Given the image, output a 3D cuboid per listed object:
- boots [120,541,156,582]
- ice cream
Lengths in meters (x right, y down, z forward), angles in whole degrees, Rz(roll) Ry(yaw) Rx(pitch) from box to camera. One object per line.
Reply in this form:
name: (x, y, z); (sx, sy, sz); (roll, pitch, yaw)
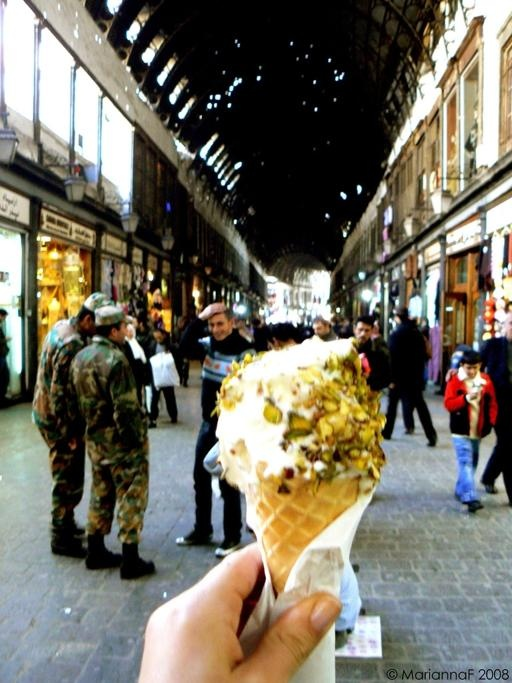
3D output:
boots: (-0.772, 1.417, 3.721); (0.239, 0.370, 0.137); (-1, 0, -30)
ice cream: (0.065, 0.221, 1.043); (0.256, 0.547, 0.227); (11, 19, 42)
